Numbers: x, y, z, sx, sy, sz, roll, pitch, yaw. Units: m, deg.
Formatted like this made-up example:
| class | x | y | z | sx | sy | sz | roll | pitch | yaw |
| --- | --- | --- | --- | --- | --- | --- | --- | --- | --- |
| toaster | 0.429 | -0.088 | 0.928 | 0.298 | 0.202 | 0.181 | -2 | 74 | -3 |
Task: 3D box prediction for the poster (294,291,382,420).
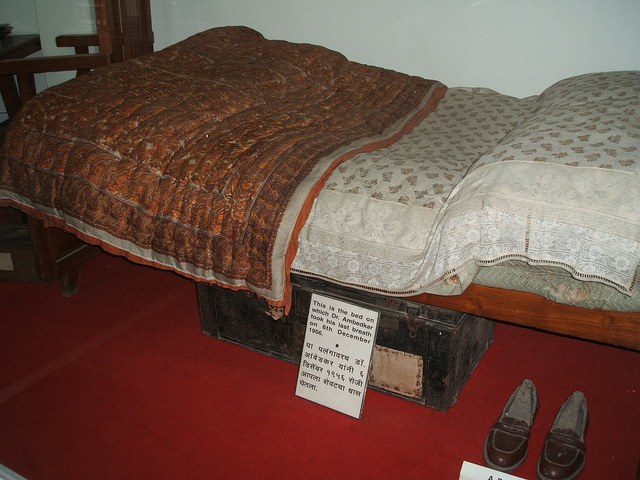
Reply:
| class | x | y | z | sx | sy | sz | roll | pitch | yaw |
| --- | --- | --- | --- | --- | --- | --- | --- | --- | --- |
| poster | 0.084 | 0.487 | 1.958 | 0.435 | 0.583 | 0.024 | 16 | 8 | 31 |
